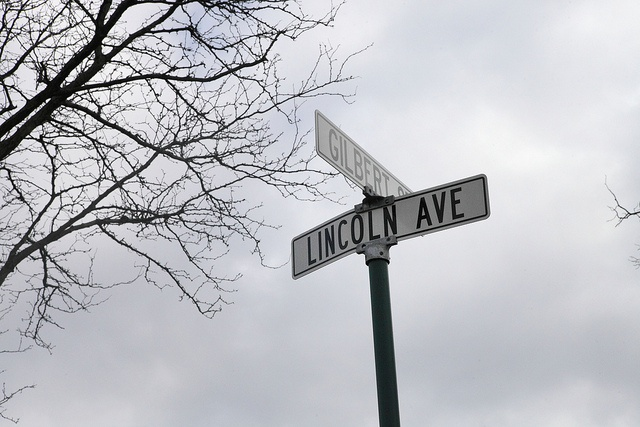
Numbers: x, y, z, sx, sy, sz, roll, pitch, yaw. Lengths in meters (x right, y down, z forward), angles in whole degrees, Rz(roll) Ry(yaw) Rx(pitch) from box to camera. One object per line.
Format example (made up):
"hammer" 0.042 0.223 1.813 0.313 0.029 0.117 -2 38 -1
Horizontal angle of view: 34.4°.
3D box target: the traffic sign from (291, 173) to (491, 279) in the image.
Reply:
"traffic sign" 0.566 0.124 10.196 2.152 0.679 0.175 -17 -45 18
